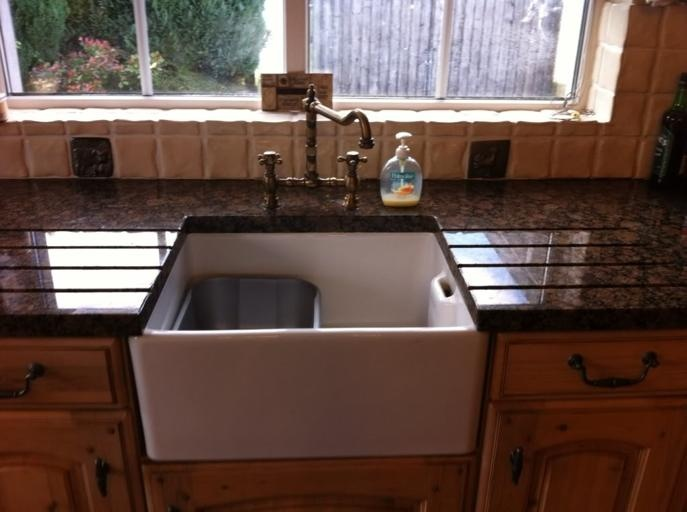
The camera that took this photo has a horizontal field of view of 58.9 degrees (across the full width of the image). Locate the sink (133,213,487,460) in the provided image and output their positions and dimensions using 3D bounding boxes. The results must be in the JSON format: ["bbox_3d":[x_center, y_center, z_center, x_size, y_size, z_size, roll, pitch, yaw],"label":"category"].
[{"bbox_3d":[-0.084,0.173,1.595,0.787,0.465,0.550,-1,19,-2],"label":"sink"}]

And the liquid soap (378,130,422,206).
[{"bbox_3d":[0.183,-0.258,1.795,0.157,0.214,0.118,-5,20,-14],"label":"liquid soap"}]
